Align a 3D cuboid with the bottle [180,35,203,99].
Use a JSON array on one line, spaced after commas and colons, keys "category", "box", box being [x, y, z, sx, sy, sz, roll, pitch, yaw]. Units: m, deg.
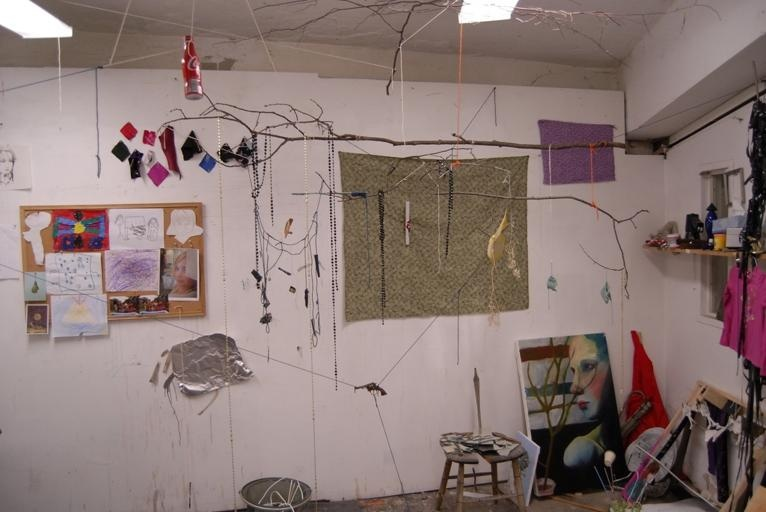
[{"category": "bottle", "box": [-1.485, -1.454, 5.111, 0.131, 0.469, 0.195, 1, -2, -18]}]
